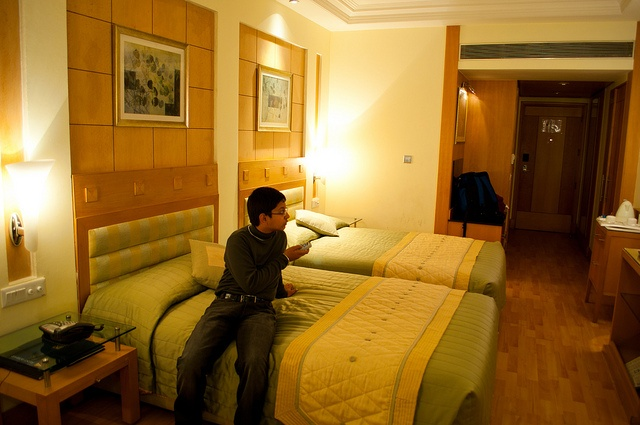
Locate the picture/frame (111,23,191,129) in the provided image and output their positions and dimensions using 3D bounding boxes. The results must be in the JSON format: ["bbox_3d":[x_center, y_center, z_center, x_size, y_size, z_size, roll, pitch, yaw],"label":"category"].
[{"bbox_3d":[-1.531,-1.223,3.894,0.032,0.801,0.797,10,12,29],"label":"picture/frame"}]

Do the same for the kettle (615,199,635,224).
[{"bbox_3d":[3.684,-0.001,5.027,0.221,0.307,0.255,1,2,42],"label":"kettle"}]

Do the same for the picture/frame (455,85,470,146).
[{"bbox_3d":[2.183,-1.536,6.564,0.051,0.907,1.258,3,9,25],"label":"picture/frame"}]

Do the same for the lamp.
[{"bbox_3d":[-2.106,-0.047,3.140,0.285,0.662,0.076,-9,12,-37],"label":"lamp"}]

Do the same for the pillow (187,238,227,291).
[{"bbox_3d":[-0.982,0.461,3.682,0.360,0.109,0.396,17,33,-6],"label":"pillow"}]

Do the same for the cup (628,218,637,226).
[{"bbox_3d":[3.654,0.113,4.924,0.090,0.069,0.093,-2,14,1],"label":"cup"}]

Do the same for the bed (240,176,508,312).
[{"bbox_3d":[0.780,0.711,5.297,2.871,1.569,1.756,7,11,27],"label":"bed"}]

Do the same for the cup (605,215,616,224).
[{"bbox_3d":[3.473,0.087,5.036,0.093,0.071,0.092,-1,10,0],"label":"cup"}]
